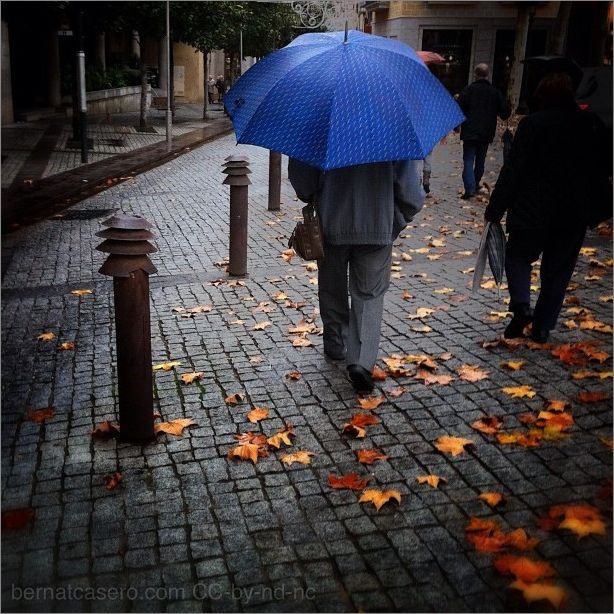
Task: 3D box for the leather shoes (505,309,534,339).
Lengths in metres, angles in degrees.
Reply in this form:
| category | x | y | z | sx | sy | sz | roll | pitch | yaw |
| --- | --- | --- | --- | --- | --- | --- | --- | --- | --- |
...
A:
| category | x | y | z | sx | sy | sz | roll | pitch | yaw |
| --- | --- | --- | --- | --- | --- | --- | --- | --- | --- |
| leather shoes | 1.697 | 0.145 | 4.691 | 0.157 | 0.358 | 0.122 | -6 | 61 | -12 |

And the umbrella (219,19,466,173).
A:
| category | x | y | z | sx | sy | sz | roll | pitch | yaw |
| --- | --- | --- | --- | --- | --- | --- | --- | --- | --- |
| umbrella | 0.138 | -1.213 | 3.274 | 1.310 | 0.669 | 1.002 | 14 | 26 | 25 |

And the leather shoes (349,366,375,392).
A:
| category | x | y | z | sx | sy | sz | roll | pitch | yaw |
| --- | --- | --- | --- | --- | --- | --- | --- | --- | --- |
| leather shoes | 0.353 | 0.468 | 3.744 | 0.097 | 0.237 | 0.102 | -3 | 48 | 14 |

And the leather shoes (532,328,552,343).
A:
| category | x | y | z | sx | sy | sz | roll | pitch | yaw |
| --- | --- | --- | --- | --- | --- | --- | --- | --- | --- |
| leather shoes | 1.888 | 0.226 | 4.600 | 0.116 | 0.111 | 0.118 | 0 | 0 | -1 |

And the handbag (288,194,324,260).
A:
| category | x | y | z | sx | sy | sz | roll | pitch | yaw |
| --- | --- | --- | --- | --- | --- | --- | --- | --- | --- |
| handbag | -0.011 | -0.503 | 3.741 | 0.200 | 0.372 | 0.378 | -3 | 20 | -9 |

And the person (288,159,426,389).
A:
| category | x | y | z | sx | sy | sz | roll | pitch | yaw |
| --- | --- | --- | --- | --- | --- | --- | --- | --- | --- |
| person | 0.276 | -0.212 | 3.830 | 0.729 | 1.531 | 0.597 | 19 | 28 | 33 |
